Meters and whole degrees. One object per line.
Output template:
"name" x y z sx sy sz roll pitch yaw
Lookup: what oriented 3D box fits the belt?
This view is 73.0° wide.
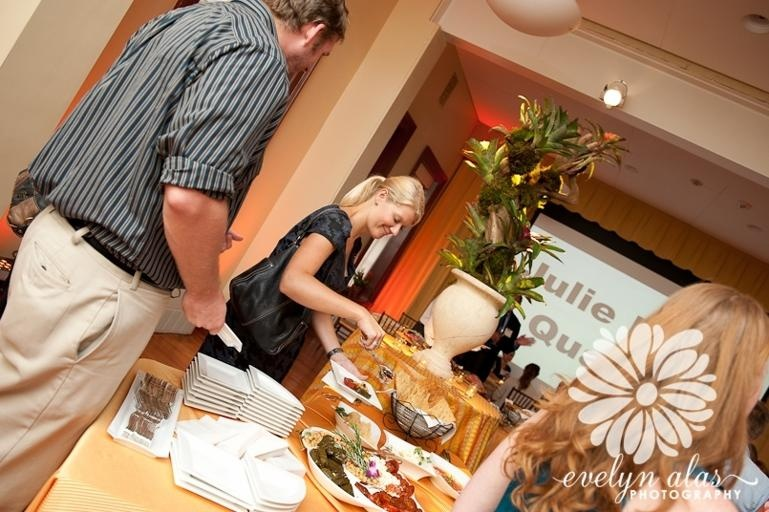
"belt" -0.805 -0.004 1.574 0.184 0.046 0.189 32 -13 32

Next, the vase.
"vase" 0.349 0.298 2.289 0.339 0.445 0.348 53 6 -23

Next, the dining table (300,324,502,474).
"dining table" 0.108 0.686 2.551 0.670 0.266 0.720 39 -1 -27

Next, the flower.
"flower" 0.591 -0.146 2.440 0.769 1.185 0.645 11 3 15

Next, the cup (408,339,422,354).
"cup" 0.162 0.478 2.740 0.061 0.064 0.114 -1 -8 2

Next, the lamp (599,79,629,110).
"lamp" 2.055 -1.475 4.624 0.189 0.286 0.122 17 -25 16

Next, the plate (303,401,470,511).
"plate" 0.009 0.677 1.842 0.477 0.086 0.373 41 -3 9
